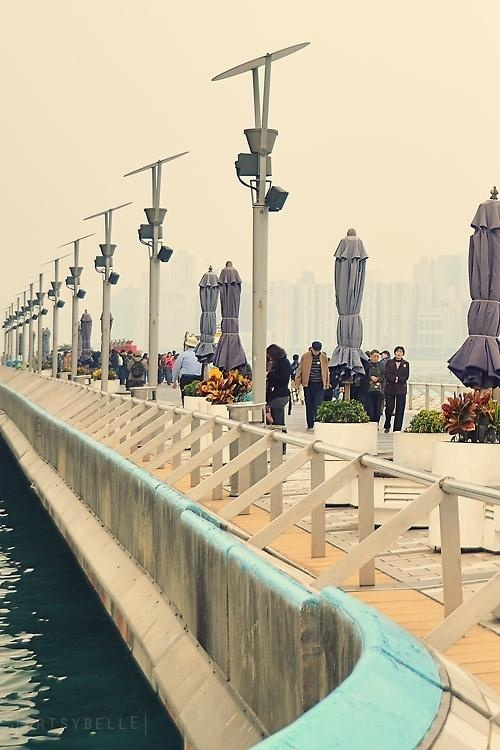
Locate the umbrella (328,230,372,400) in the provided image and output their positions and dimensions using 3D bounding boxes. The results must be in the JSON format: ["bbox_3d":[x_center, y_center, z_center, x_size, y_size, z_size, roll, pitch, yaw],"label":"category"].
[{"bbox_3d":[1.850,-0.995,20.986,0.985,2.739,1.310,-11,4,5],"label":"umbrella"}]

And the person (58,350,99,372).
[{"bbox_3d":[-9.058,-0.730,59.329,1.184,0.790,1.528,0,0,-44],"label":"person"}]

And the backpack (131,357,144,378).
[{"bbox_3d":[-3.432,-0.238,33.900,0.329,0.545,0.557,1,42,2],"label":"backpack"}]
